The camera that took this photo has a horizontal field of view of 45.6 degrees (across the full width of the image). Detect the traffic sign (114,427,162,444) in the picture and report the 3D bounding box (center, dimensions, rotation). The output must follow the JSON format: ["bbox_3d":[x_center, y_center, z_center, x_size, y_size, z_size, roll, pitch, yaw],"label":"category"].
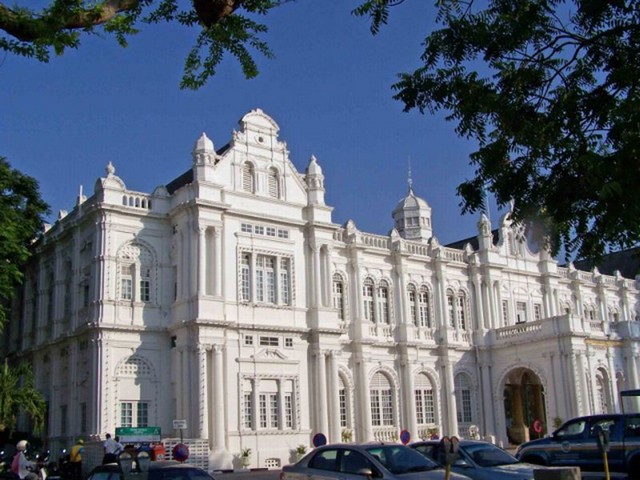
[{"bbox_3d":[-6.912,7.357,29.043,1.768,0.644,0.625,14,-26,-36],"label":"traffic sign"}]

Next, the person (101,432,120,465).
[{"bbox_3d":[-7.585,7.711,27.772,0.625,1.668,0.483,-6,19,-8],"label":"person"}]
